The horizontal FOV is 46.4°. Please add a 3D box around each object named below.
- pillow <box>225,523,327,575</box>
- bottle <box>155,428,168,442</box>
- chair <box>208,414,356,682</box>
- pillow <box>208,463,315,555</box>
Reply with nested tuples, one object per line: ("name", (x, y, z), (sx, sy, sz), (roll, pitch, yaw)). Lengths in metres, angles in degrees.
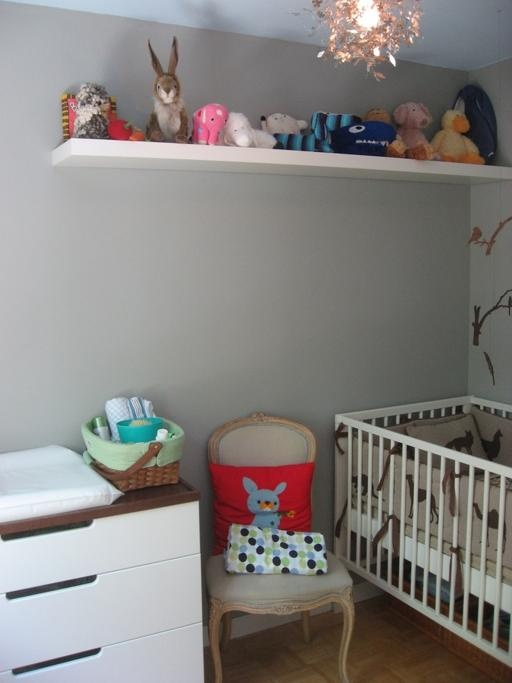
("pillow", (0.082, 0.732, 2.095), (0.274, 0.071, 0.164), (5, 37, -12))
("bottle", (-0.289, 0.290, 1.847), (0.040, 0.036, 0.026), (5, -1, -7))
("chair", (0.088, 0.798, 2.261), (0.540, 0.945, 0.702), (-2, 11, 1))
("pillow", (0.023, 0.622, 2.232), (0.368, 0.318, 0.128), (-2, -4, -5))
